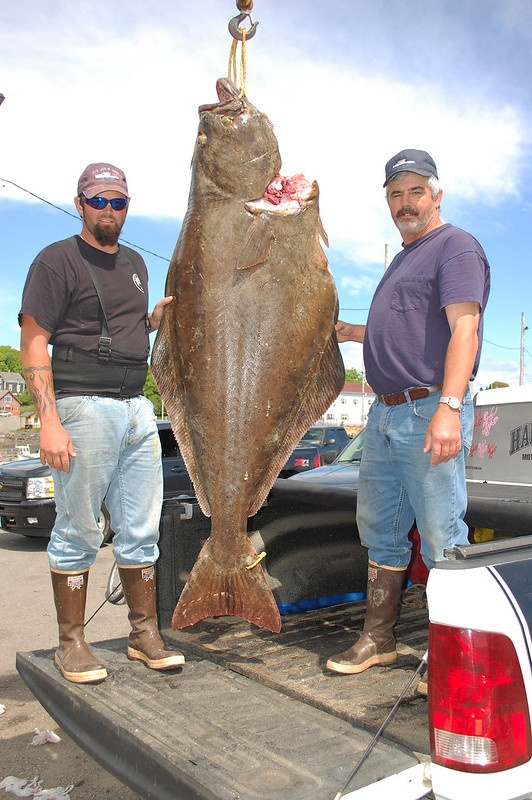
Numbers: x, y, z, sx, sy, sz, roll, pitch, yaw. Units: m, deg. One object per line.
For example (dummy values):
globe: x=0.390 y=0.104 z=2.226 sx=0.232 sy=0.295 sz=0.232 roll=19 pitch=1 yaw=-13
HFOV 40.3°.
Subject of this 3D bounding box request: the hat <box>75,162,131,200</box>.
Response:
hat: x=-0.704 y=-0.958 z=3.096 sx=0.211 sy=0.148 sz=0.226 roll=-4 pitch=-1 yaw=-10
